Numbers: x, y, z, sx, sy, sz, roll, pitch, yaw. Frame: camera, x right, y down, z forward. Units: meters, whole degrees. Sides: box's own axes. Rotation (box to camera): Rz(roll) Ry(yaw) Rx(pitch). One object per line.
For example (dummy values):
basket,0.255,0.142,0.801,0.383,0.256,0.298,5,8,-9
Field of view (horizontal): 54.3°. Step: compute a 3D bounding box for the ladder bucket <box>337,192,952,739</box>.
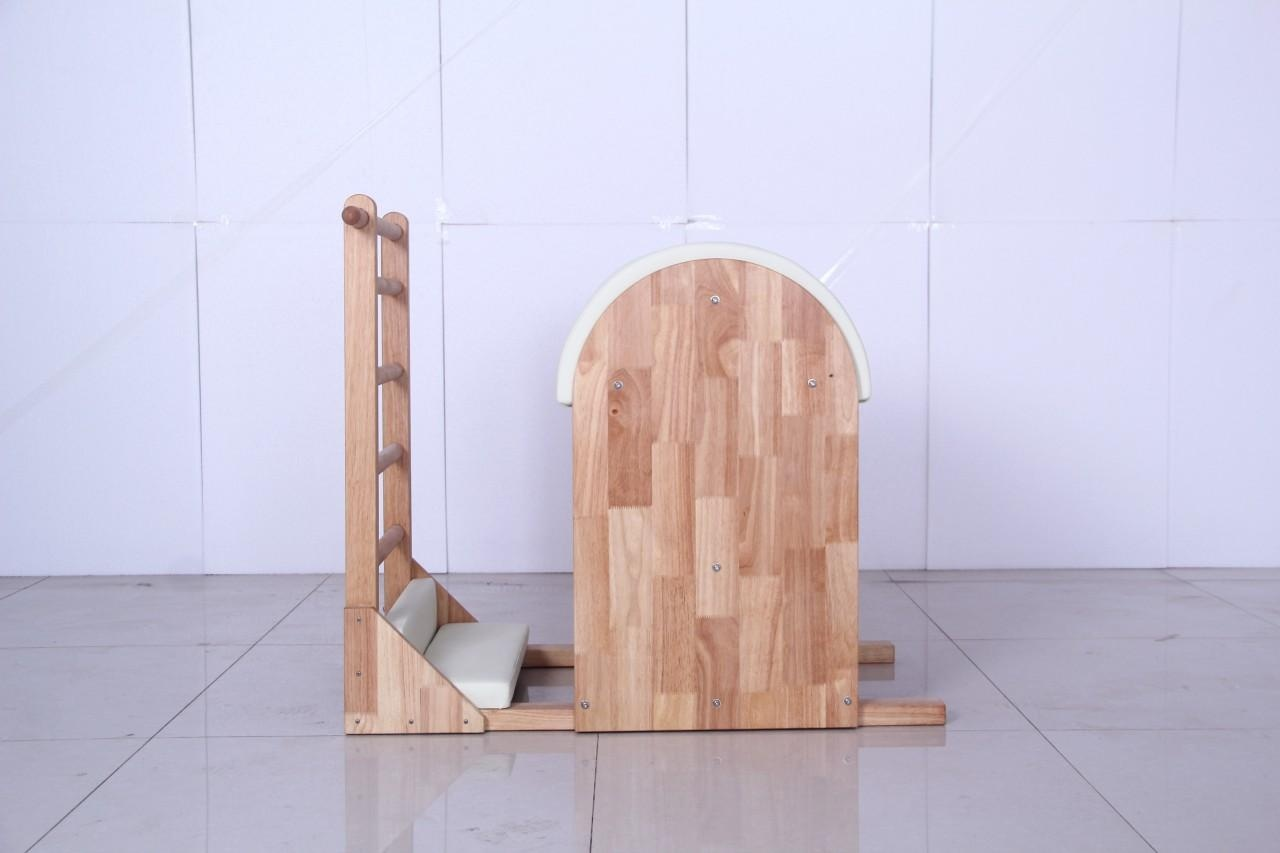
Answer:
ladder bucket,0.124,0.188,4.522,2.020,1.836,1.279,-1,3,-3
